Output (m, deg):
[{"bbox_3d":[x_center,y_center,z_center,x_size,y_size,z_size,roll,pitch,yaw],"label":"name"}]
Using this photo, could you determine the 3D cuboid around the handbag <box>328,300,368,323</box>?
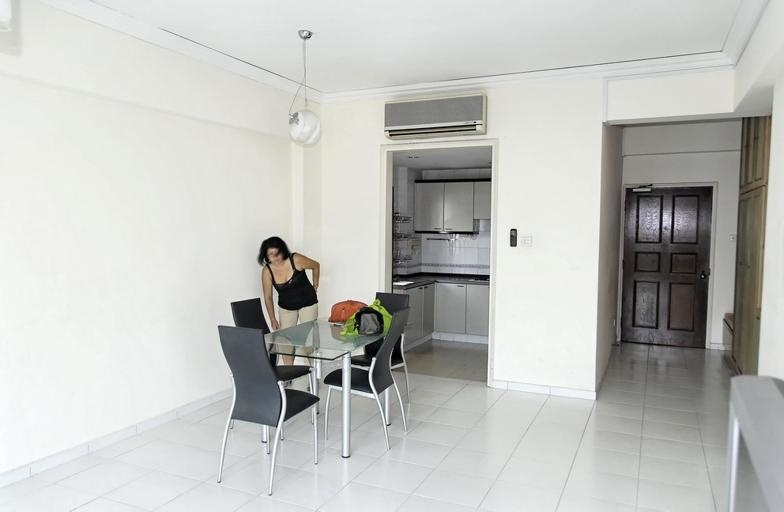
[{"bbox_3d":[-0.468,0.568,5.296,0.324,0.183,0.222,2,3,21],"label":"handbag"}]

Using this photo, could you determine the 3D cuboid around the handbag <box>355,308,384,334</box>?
[{"bbox_3d":[-0.219,0.638,4.942,0.195,0.249,0.097,2,-9,-11],"label":"handbag"}]

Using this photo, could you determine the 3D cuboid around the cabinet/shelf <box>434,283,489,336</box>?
[{"bbox_3d":[1.206,0.845,8.267,0.954,0.839,0.365,3,9,20],"label":"cabinet/shelf"}]

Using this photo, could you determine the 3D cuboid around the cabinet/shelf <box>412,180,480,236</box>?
[{"bbox_3d":[0.828,-0.823,8.770,1.035,0.887,0.364,-1,8,-14],"label":"cabinet/shelf"}]

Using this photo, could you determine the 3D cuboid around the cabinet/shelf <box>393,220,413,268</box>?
[{"bbox_3d":[0.200,-0.225,8.517,0.163,0.917,0.587,6,13,25],"label":"cabinet/shelf"}]
